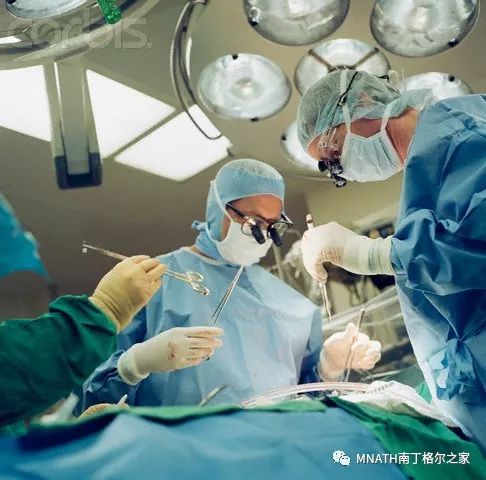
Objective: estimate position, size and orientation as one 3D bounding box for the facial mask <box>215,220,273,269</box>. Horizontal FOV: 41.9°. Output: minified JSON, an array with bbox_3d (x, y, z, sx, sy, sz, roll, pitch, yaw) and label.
[{"bbox_3d":[0.010,0.016,2.654,0.214,0.202,0.178,0,8,-13],"label":"facial mask"}]

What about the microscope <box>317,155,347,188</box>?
[{"bbox_3d":[0.332,-0.275,2.411,0.076,0.125,0.059,-32,-34,22],"label":"microscope"}]

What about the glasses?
[{"bbox_3d":[0.071,-0.079,2.696,0.248,0.167,0.204,1,4,-21],"label":"glasses"}]
